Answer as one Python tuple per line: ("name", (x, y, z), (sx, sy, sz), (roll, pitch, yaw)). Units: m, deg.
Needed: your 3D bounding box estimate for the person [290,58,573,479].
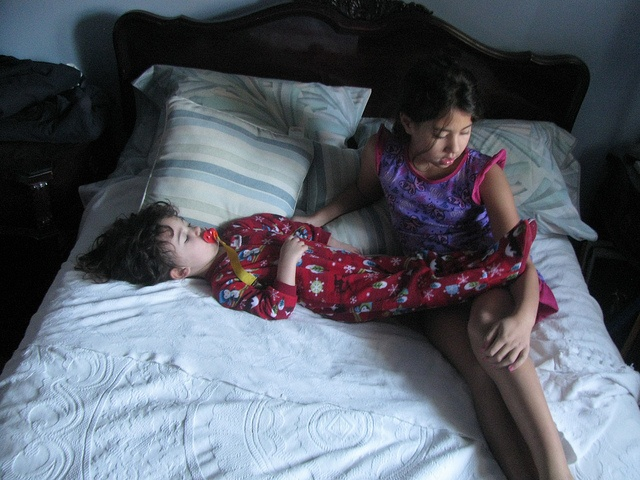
("person", (0.333, 0.094, 1.453), (0.589, 0.693, 1.167), (-8, 54, -1))
